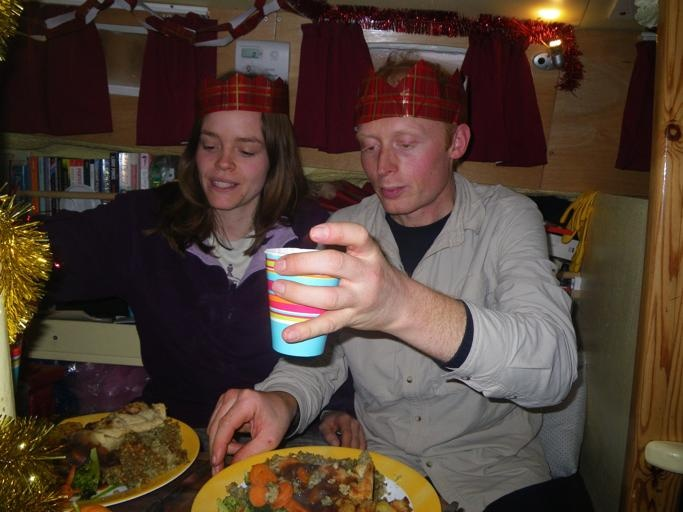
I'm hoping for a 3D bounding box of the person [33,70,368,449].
[{"bbox_3d":[-0.556,0.037,2.561,2.300,1.578,0.596,5,15,-4],"label":"person"}]

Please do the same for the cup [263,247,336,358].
[{"bbox_3d":[-0.104,0.101,1.386,0.240,0.264,0.240,0,6,0],"label":"cup"}]
